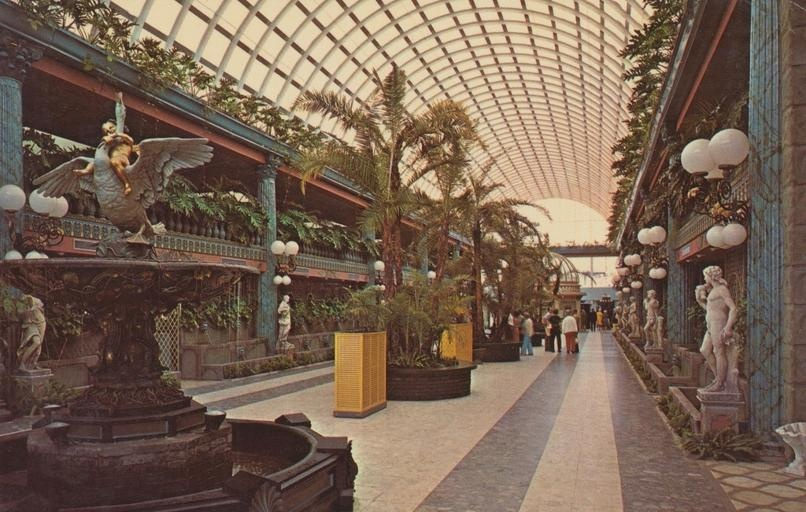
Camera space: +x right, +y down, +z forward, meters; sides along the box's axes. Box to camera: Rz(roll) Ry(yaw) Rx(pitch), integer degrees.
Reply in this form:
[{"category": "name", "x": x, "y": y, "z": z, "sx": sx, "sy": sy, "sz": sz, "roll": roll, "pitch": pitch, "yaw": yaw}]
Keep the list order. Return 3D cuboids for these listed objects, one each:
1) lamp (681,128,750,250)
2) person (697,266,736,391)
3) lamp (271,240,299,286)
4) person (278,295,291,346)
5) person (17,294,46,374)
[{"category": "lamp", "x": 5.934, "y": -1.264, "z": 11.840, "sx": 0.974, "sy": 1.870, "sz": 1.001, "roll": -2, "pitch": -5, "yaw": 12}, {"category": "person", "x": 6.023, "y": 1.381, "z": 11.872, "sx": 0.607, "sy": 2.448, "sz": 0.427, "roll": 0, "pitch": 0, "yaw": 29}, {"category": "lamp", "x": -4.803, "y": 0.285, "z": 25.509, "sx": 1.019, "sy": 1.796, "sz": 3.355, "roll": 0, "pitch": -1, "yaw": -9}, {"category": "person", "x": -4.677, "y": 2.555, "z": 24.623, "sx": 0.407, "sy": 1.983, "sz": 1.189, "roll": 0, "pitch": 0, "yaw": -14}, {"category": "person", "x": -8.700, "y": 1.804, "z": 14.674, "sx": 0.443, "sy": 1.672, "sz": 0.584, "roll": 0, "pitch": 0, "yaw": 43}]
